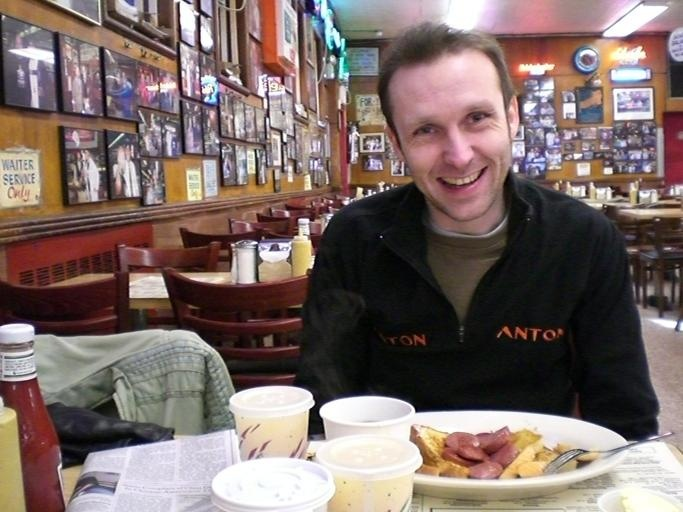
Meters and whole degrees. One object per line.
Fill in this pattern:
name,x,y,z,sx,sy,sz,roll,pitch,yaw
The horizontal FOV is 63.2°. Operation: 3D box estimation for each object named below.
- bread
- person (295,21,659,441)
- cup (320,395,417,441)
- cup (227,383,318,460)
bread,0.238,0.317,0.921,0.150,0.026,0.107,-3,10,-37
person,0.306,-0.064,1.316,0.760,0.960,0.379,-3,9,23
cup,0.040,0.218,0.825,0.103,0.057,0.096,-2,2,0
cup,-0.101,0.246,0.874,0.137,0.074,0.119,1,1,16
